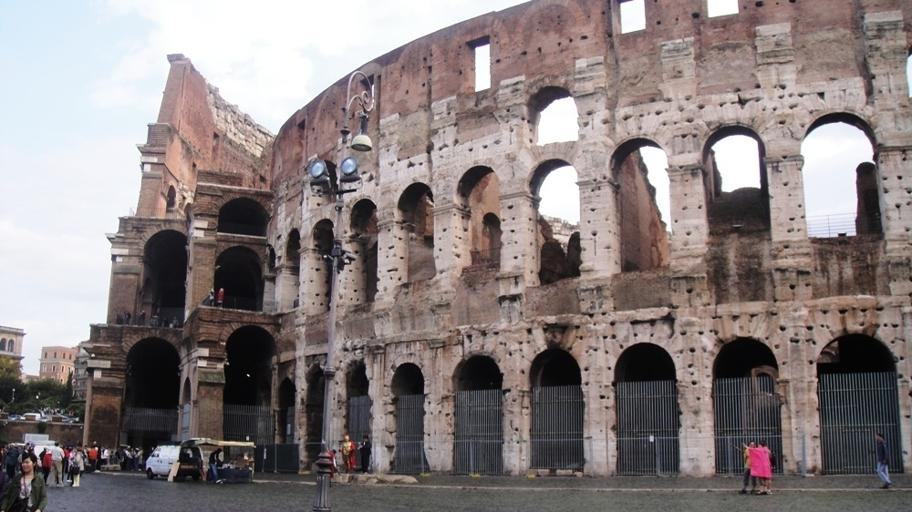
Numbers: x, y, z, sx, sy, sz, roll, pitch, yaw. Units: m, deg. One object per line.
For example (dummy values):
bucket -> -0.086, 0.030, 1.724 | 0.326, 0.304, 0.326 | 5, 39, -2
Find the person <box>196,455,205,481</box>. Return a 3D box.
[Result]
person -> -10.515, 8.744, 40.375 | 0.323, 1.172, 1.008 | 7, -18, -26

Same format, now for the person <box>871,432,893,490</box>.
person -> 14.525, 7.014, 33.264 | 0.398, 1.860, 1.211 | -8, -17, 22

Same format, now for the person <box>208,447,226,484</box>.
person -> -9.635, 8.528, 39.609 | 0.522, 1.387, 0.900 | 8, -19, -29

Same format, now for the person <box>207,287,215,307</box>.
person -> -12.647, 2.150, 50.378 | 0.211, 0.985, 0.621 | 3, -16, -12

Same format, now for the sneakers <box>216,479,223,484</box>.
sneakers -> -9.437, 9.047, 39.002 | 0.277, 0.156, 0.515 | 3, -15, -14

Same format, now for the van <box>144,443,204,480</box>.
van -> -11.781, 8.872, 41.691 | 2.838, 1.324, 1.673 | -8, -14, 43

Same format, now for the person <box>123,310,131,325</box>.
person -> -18.316, 3.486, 54.668 | 0.406, 0.892, 0.925 | 5, -17, -19

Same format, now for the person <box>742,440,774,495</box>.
person -> 10.209, 7.246, 32.817 | 0.725, 1.540, 0.426 | -4, -17, 9

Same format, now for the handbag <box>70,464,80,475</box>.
handbag -> -15.223, 8.614, 39.053 | 0.291, 0.399, 0.735 | 5, -16, -20
